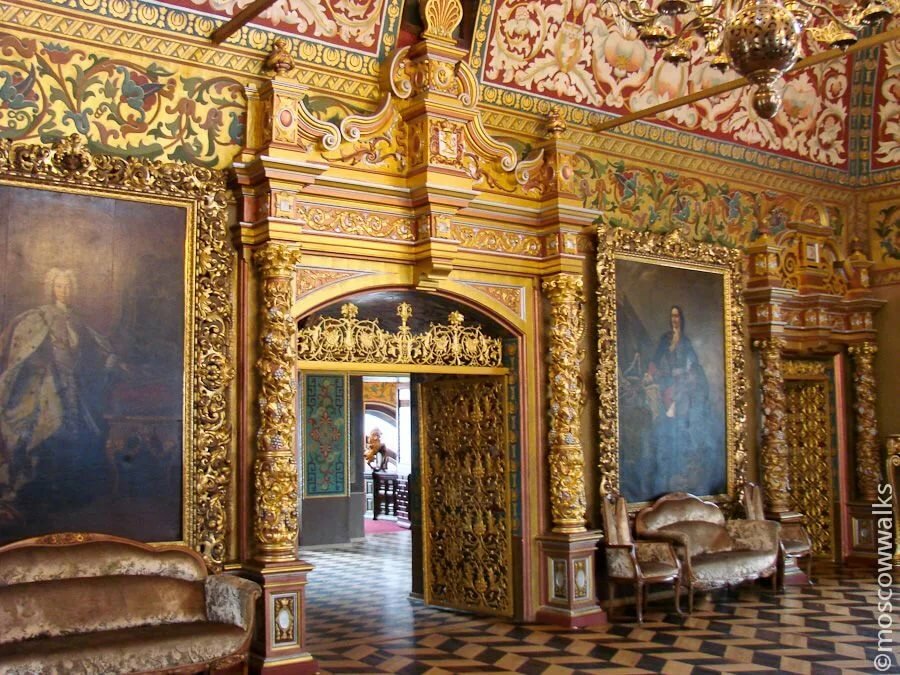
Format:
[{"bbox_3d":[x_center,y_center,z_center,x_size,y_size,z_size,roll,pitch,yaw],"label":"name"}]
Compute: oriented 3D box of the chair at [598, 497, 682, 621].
[{"bbox_3d":[2.273,2.612,10.667,0.866,1.436,0.700,-3,-10,20],"label":"chair"}]
